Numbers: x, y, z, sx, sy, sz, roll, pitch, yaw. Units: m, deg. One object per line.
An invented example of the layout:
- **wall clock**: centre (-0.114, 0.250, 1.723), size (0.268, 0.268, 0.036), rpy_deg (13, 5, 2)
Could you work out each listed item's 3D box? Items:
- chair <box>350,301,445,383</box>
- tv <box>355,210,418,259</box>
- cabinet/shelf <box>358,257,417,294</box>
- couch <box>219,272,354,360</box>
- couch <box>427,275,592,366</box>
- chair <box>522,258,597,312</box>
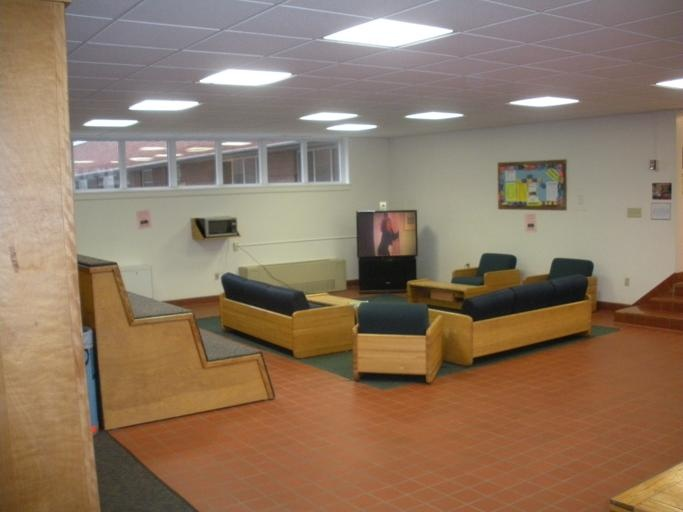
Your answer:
- **chair**: centre (0.765, 1.052, 6.693), size (0.986, 0.892, 1.089), rpy_deg (0, 5, 12)
- **tv**: centre (1.075, -0.499, 11.882), size (1.222, 0.818, 0.122), rpy_deg (-1, 1, 1)
- **cabinet/shelf**: centre (1.087, 0.452, 12.297), size (1.551, 0.758, 0.982), rpy_deg (-1, -2, 0)
- **couch**: centre (-0.596, 0.578, 7.808), size (1.376, 0.728, 1.846), rpy_deg (-7, 11, -42)
- **couch**: centre (2.642, 0.915, 7.392), size (2.560, 1.056, 0.359), rpy_deg (-4, 8, -25)
- **chair**: centre (4.410, 0.476, 10.035), size (1.231, 1.220, 1.394), rpy_deg (-2, 2, -35)
